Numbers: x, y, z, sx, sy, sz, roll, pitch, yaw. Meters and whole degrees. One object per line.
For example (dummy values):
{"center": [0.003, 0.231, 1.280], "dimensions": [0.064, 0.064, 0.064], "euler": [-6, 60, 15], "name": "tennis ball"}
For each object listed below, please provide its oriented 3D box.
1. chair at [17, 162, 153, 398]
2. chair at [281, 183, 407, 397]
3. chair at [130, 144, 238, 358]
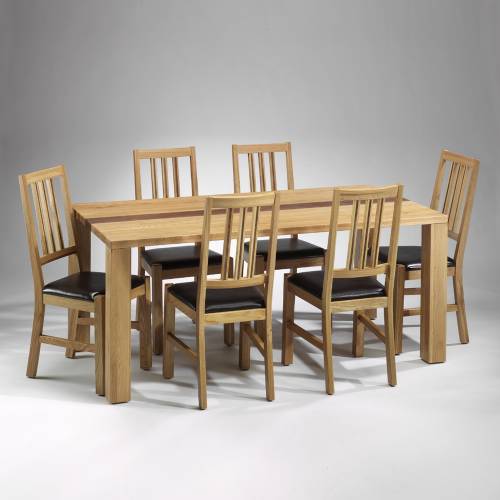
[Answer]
{"center": [-0.968, 0.055, 2.763], "dimensions": [0.609, 1.042, 1.473], "euler": [-5, 12, -25], "name": "chair"}
{"center": [0.441, 0.158, 2.479], "dimensions": [0.491, 0.977, 0.556], "euler": [-1, 11, -2], "name": "chair"}
{"center": [-0.293, 0.084, 2.869], "dimensions": [0.553, 1.338, 0.663], "euler": [-17, 28, -31], "name": "chair"}
